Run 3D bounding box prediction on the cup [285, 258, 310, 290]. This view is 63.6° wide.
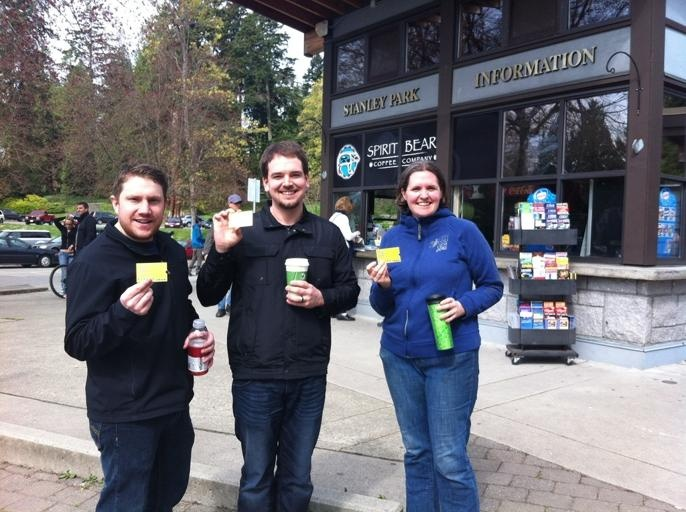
[{"bbox_3d":[-0.291,0.103,3.590,0.161,0.151,0.159,1,-5,0],"label":"cup"}]

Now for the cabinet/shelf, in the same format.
[{"bbox_3d":[2.725,0.533,7.535,0.932,1.790,0.842,1,5,17],"label":"cabinet/shelf"}]

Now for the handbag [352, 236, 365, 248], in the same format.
[{"bbox_3d":[0.298,-0.239,10.420,0.194,0.182,0.186,-5,-11,19],"label":"handbag"}]

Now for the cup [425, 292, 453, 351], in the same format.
[{"bbox_3d":[0.640,0.446,3.641,0.162,0.359,0.074,0,5,6],"label":"cup"}]

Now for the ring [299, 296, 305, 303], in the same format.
[{"bbox_3d":[-0.258,0.282,3.510,0.033,0.032,0.033,1,-4,0],"label":"ring"}]
